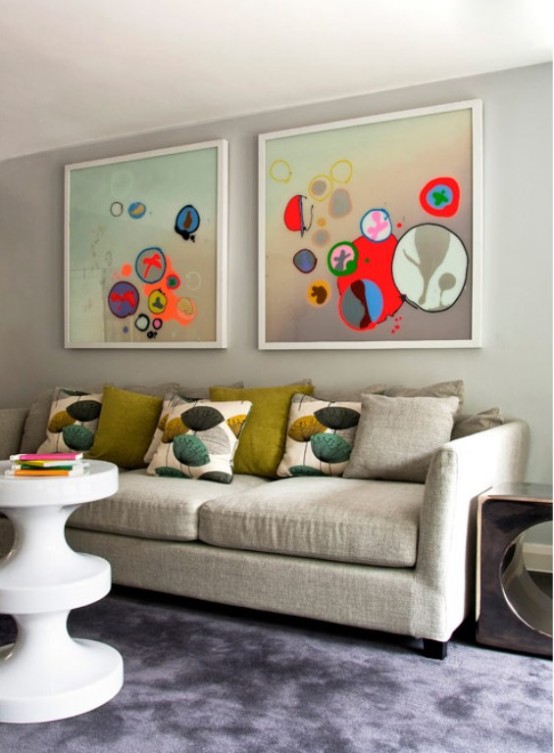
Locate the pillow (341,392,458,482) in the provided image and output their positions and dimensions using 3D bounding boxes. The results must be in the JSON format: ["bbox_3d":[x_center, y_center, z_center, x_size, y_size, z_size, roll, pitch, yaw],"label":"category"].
[{"bbox_3d":[0.448,0.204,2.565,0.392,0.365,0.139,3,-21,35],"label":"pillow"}]

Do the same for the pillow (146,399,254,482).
[{"bbox_3d":[-0.350,0.274,2.879,0.414,0.360,0.123,0,-20,31],"label":"pillow"}]

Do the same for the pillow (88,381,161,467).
[{"bbox_3d":[-0.740,0.253,3.307,0.381,0.357,0.164,12,-11,20],"label":"pillow"}]

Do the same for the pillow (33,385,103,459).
[{"bbox_3d":[-1.067,0.244,3.329,0.352,0.281,0.169,-4,4,33],"label":"pillow"}]

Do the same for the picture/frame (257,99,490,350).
[{"bbox_3d":[0.532,-0.762,3.313,1.473,1.306,0.055,0,1,27],"label":"picture/frame"}]

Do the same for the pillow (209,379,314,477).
[{"bbox_3d":[-0.072,0.253,2.977,0.408,0.330,0.204,3,11,29],"label":"pillow"}]

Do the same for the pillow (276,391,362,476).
[{"bbox_3d":[0.193,0.263,2.852,0.358,0.328,0.107,5,-13,43],"label":"pillow"}]

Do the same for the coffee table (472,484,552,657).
[{"bbox_3d":[0.815,0.630,2.173,0.238,0.497,0.321,-1,-2,30],"label":"coffee table"}]

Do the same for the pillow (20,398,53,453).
[{"bbox_3d":[-1.358,0.274,3.654,0.084,0.249,0.277,19,-21,-27],"label":"pillow"}]
